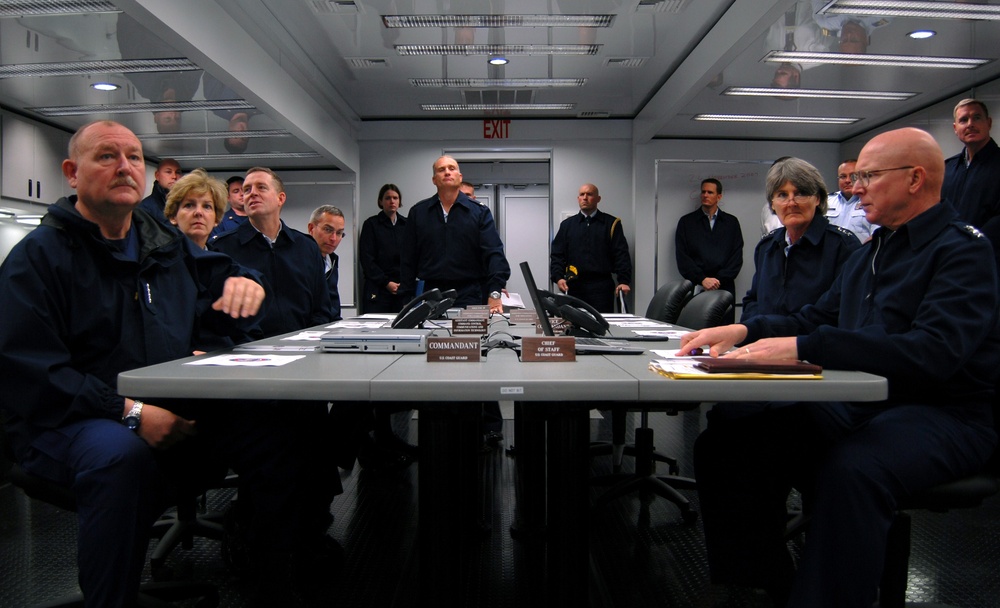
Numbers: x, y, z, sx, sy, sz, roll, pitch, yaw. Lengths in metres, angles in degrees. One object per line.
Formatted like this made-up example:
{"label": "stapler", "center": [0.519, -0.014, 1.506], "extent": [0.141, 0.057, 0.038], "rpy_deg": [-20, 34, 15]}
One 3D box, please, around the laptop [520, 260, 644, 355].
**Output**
{"label": "laptop", "center": [0.400, 0.022, 3.492], "extent": [0.540, 0.321, 0.520], "rpy_deg": [-2, -1, 0]}

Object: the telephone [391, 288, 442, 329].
{"label": "telephone", "center": [-0.490, 0.040, 3.879], "extent": [0.262, 0.073, 0.185], "rpy_deg": [-27, 0, -1]}

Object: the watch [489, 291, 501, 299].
{"label": "watch", "center": [-0.037, -0.071, 5.087], "extent": [0.070, 0.033, 0.050], "rpy_deg": [-3, 9, -13]}

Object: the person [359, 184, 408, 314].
{"label": "person", "center": [-1.406, -0.651, 7.846], "extent": [0.527, 1.560, 1.081], "rpy_deg": [-1, 8, -12]}
